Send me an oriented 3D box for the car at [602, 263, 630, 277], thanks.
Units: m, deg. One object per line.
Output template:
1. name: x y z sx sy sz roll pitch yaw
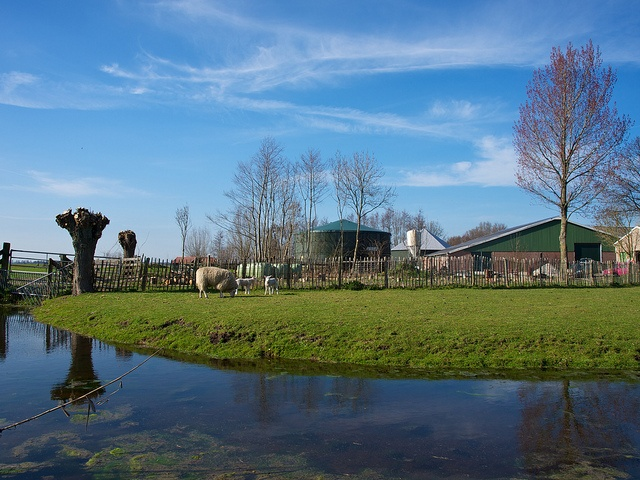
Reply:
1. car: 18.635 1.883 34.135 2.292 0.864 1.417 -2 2 -41
